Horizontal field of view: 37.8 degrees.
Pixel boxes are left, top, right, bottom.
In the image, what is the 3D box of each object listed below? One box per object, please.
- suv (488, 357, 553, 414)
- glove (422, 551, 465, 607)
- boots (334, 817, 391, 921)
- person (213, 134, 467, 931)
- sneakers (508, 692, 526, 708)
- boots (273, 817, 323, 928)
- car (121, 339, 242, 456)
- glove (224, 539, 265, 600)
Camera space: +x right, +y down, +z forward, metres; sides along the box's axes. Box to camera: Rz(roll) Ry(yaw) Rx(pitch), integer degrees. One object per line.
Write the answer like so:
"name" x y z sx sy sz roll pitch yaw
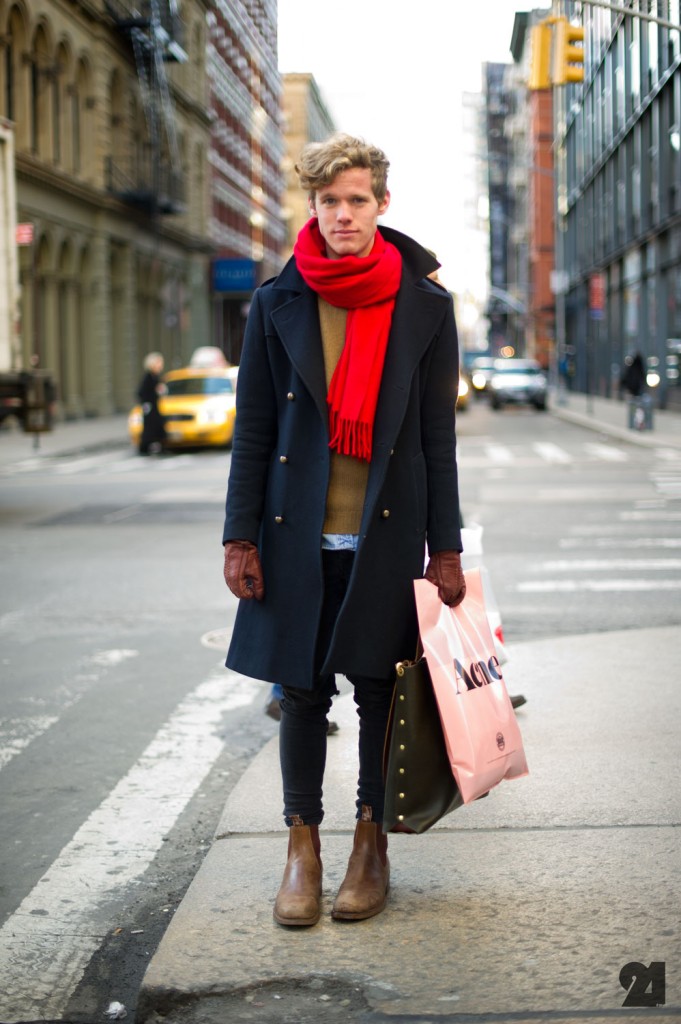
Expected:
"suv" 6.897 -4.855 39.546 1.728 1.575 3.638 -1 -3 5
"glove" 0.232 0.159 2.246 0.059 0.047 0.161 -26 21 -1
"boots" 0.046 0.804 2.253 0.110 0.180 0.253 -4 1 15
"person" -0.007 0.078 2.344 0.592 1.759 0.449 1 5 11
"sneakers" 0.680 0.731 3.823 0.057 0.046 0.200 -4 1 10
"boots" -0.100 0.805 2.217 0.098 0.191 0.260 -4 1 0
"car" -2.206 -1.622 15.527 1.518 1.276 3.854 -1 1 6
"glove" -0.224 0.144 2.335 0.095 0.123 0.128 1 -3 0
